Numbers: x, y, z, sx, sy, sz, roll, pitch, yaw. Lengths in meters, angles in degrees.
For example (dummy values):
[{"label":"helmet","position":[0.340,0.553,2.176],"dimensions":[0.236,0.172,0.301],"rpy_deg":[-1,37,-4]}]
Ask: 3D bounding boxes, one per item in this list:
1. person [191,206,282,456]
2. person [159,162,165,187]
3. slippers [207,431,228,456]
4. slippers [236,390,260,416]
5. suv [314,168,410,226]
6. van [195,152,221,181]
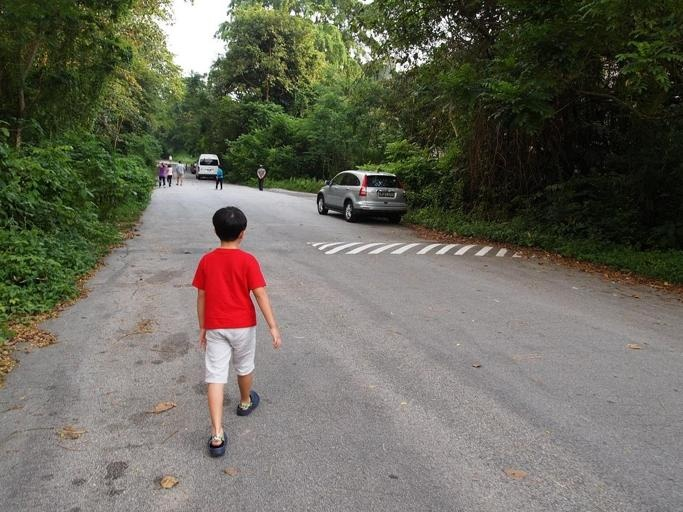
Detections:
[{"label":"person","position":[-0.981,0.628,4.471],"dimensions":[0.642,2.075,0.675],"rpy_deg":[-3,12,-27]},{"label":"person","position":[-13.442,-5.998,36.607],"dimensions":[0.432,1.574,2.085],"rpy_deg":[-2,12,-19]},{"label":"slippers","position":[-1.110,1.619,4.360],"dimensions":[0.170,0.179,0.279],"rpy_deg":[0,12,-13]},{"label":"slippers","position":[-0.942,1.477,4.934],"dimensions":[0.107,0.122,0.293],"rpy_deg":[6,27,13]},{"label":"suv","position":[0.700,-2.392,19.407],"dimensions":[1.518,1.943,3.552],"rpy_deg":[-7,15,-38]},{"label":"van","position":[-13.744,-8.990,49.944],"dimensions":[1.854,2.524,2.835],"rpy_deg":[-3,13,-26]}]
